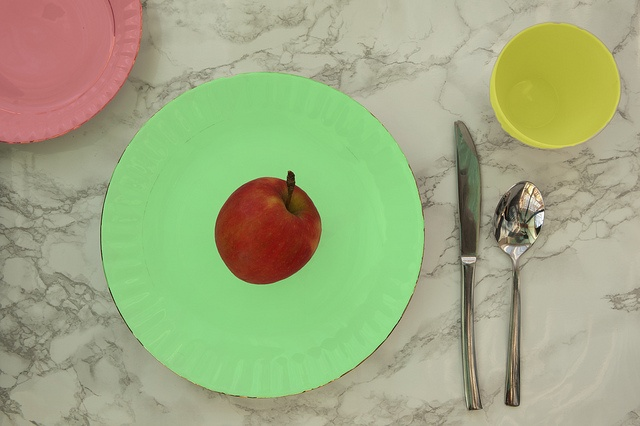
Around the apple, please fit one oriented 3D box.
[{"bbox_3d":[-0.101,0.008,1.383,0.196,0.208,0.261,10,-52,-14],"label":"apple"}]

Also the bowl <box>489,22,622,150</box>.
[{"bbox_3d":[0.523,-0.263,1.470,0.262,0.224,0.289,1,-4,-7],"label":"bowl"}]

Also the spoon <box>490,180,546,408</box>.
[{"bbox_3d":[0.378,0.135,1.264,0.113,0.616,0.077,10,-54,13],"label":"spoon"}]

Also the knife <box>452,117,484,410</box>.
[{"bbox_3d":[0.323,0.102,1.410,0.044,0.605,0.053,1,0,-1],"label":"knife"}]
